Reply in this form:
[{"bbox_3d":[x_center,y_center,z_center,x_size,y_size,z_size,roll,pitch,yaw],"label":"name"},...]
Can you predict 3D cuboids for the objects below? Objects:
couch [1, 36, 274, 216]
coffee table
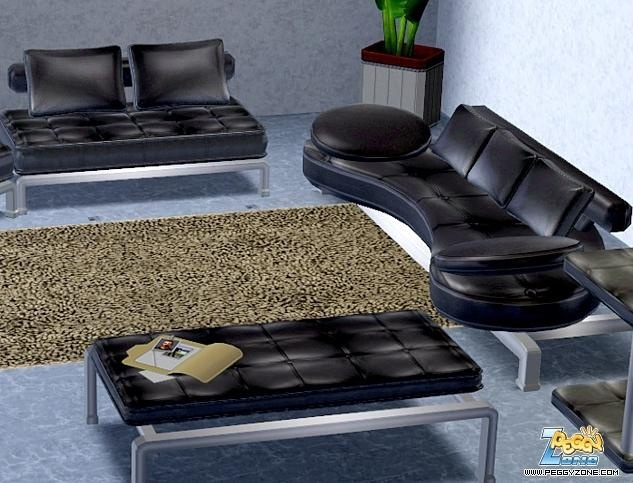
[{"bbox_3d":[-1.555,-1.011,4.657,1.957,1.134,1.361,-8,29,-15],"label":"couch"},{"bbox_3d":[-0.046,0.509,2.053,1.460,0.292,0.742,-4,23,-13],"label":"coffee table"}]
